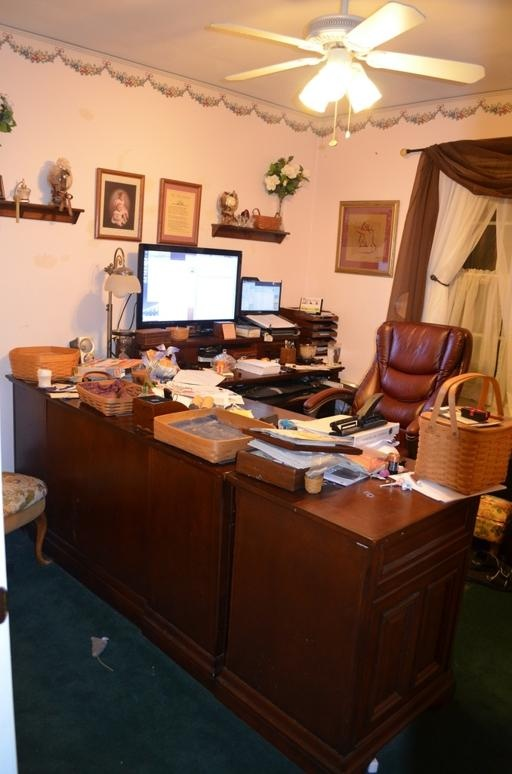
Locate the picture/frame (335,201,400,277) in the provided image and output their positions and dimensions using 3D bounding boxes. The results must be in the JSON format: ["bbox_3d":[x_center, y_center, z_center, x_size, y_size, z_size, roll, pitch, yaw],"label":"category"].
[{"bbox_3d":[0.863,-1.142,4.196,0.587,0.669,0.037,15,15,39],"label":"picture/frame"}]

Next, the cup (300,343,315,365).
[{"bbox_3d":[0.367,-0.248,4.092,0.112,0.117,0.129,-1,13,-5],"label":"cup"}]

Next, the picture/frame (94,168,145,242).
[{"bbox_3d":[-0.833,-1.105,3.349,0.314,0.396,0.027,-6,20,-41],"label":"picture/frame"}]

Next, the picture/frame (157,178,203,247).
[{"bbox_3d":[-0.512,-1.155,3.660,0.303,0.415,0.031,-5,19,-38],"label":"picture/frame"}]

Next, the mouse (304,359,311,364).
[{"bbox_3d":[0.366,-0.189,4.054,0.037,0.036,0.009,1,-6,-18],"label":"mouse"}]

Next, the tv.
[{"bbox_3d":[-0.437,-0.656,3.573,0.793,0.519,0.056,-8,18,-39],"label":"tv"}]

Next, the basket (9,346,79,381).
[{"bbox_3d":[-1.072,-0.125,2.820,0.249,0.103,0.280,0,8,-9],"label":"basket"}]

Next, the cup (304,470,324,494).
[{"bbox_3d":[0.151,0.255,1.461,0.057,0.066,0.059,0,2,0],"label":"cup"}]

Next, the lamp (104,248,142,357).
[{"bbox_3d":[-0.819,-0.396,3.199,0.184,0.783,0.347,-6,18,-41],"label":"lamp"}]

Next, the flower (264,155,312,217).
[{"bbox_3d":[0.250,-1.558,4.238,0.224,0.477,0.475,9,10,35],"label":"flower"}]

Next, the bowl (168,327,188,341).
[{"bbox_3d":[-0.476,-0.334,3.481,0.099,0.086,0.194,8,9,29],"label":"bowl"}]

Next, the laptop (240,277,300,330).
[{"bbox_3d":[0.108,-0.605,4.094,0.253,0.397,0.532,10,10,39],"label":"laptop"}]

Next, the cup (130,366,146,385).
[{"bbox_3d":[-0.548,-0.048,2.525,0.049,0.062,0.091,-4,5,-25],"label":"cup"}]
